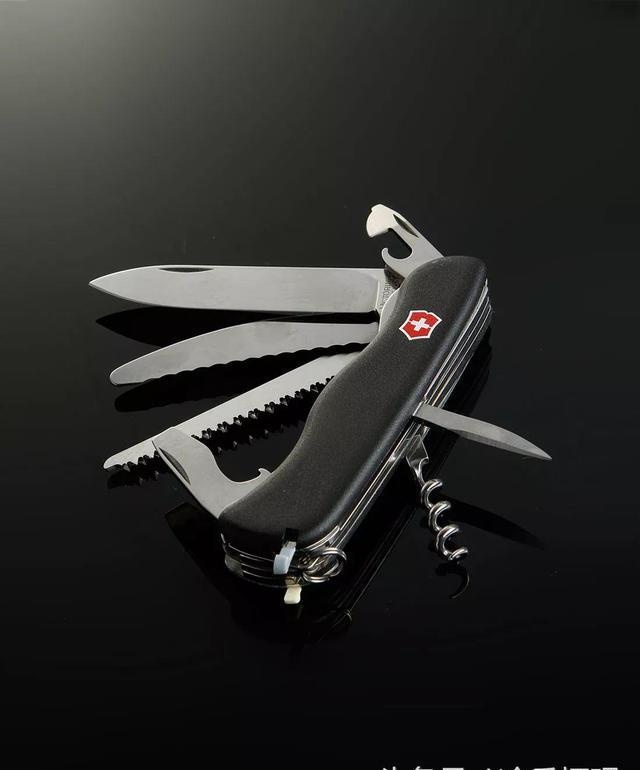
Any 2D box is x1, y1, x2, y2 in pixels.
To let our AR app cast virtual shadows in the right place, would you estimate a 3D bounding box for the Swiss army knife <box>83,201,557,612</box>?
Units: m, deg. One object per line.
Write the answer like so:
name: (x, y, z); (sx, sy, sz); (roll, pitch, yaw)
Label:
Swiss army knife: (0.039, 0.026, 1.049); (0.565, 0.101, 0.447); (10, 49, 26)
